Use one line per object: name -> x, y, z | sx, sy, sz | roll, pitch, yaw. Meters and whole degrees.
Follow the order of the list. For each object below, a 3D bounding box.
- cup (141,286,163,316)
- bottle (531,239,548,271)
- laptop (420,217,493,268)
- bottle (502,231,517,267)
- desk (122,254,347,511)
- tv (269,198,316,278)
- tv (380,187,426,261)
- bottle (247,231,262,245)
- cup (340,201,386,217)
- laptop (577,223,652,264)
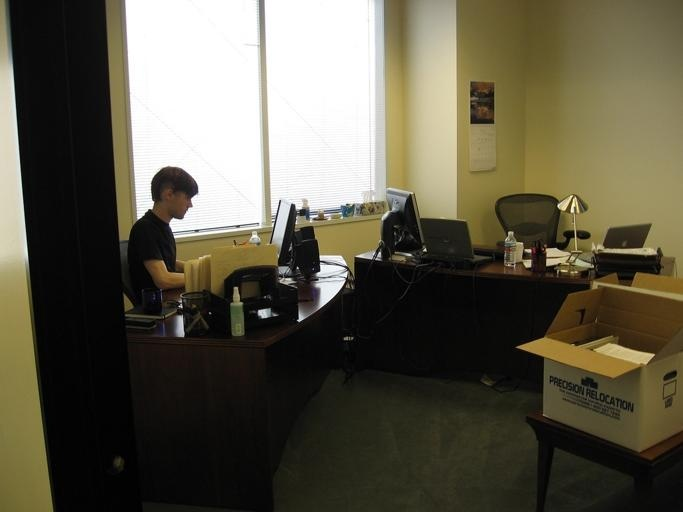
cup -> -0.848, 0.207, 2.485 | 0.093, 0.112, 0.098 | -1, 6, 0
bottle -> 1.157, -0.015, 3.184 | 0.078, 0.164, 0.201 | 3, 14, 18
laptop -> 0.728, -0.118, 3.431 | 0.354, 0.298, 0.305 | 7, 15, 39
bottle -> 1.057, -0.062, 3.401 | 0.077, 0.205, 0.304 | 2, 14, 17
desk -> -0.409, 0.609, 2.664 | 0.621, 0.786, 1.140 | 6, 15, 29
tv -> -0.273, -0.111, 3.261 | 0.237, 0.470, 0.464 | 3, 16, -11
tv -> 0.375, -0.221, 3.621 | 0.241, 0.426, 0.349 | -11, 16, -26
bottle -> -0.632, -0.132, 3.891 | 0.084, 0.163, 0.089 | 0, 11, 0
cup -> 0.211, -0.464, 5.382 | 0.550, 0.146, 0.153 | -10, 16, -31
laptop -> 1.628, -0.123, 3.178 | 0.280, 0.204, 0.254 | -1, 10, -12
